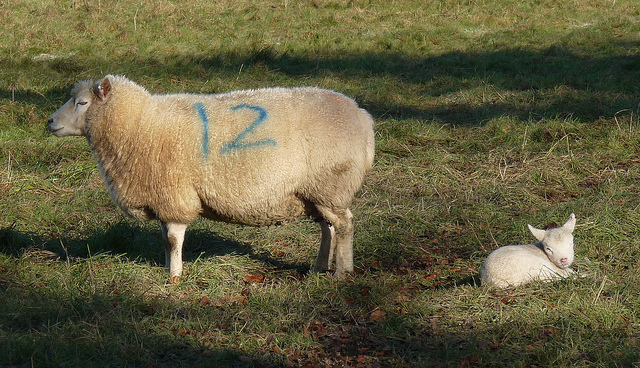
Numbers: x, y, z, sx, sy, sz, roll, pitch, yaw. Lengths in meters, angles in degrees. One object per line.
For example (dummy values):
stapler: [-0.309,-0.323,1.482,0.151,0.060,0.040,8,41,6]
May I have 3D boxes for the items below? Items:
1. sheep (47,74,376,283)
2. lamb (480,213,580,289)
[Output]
sheep: [-1.887,0.072,14.126,5.491,2.312,2.353,6,21,23]
lamb: [3.534,1.131,14.115,1.728,1.077,1.027,-10,3,-16]
